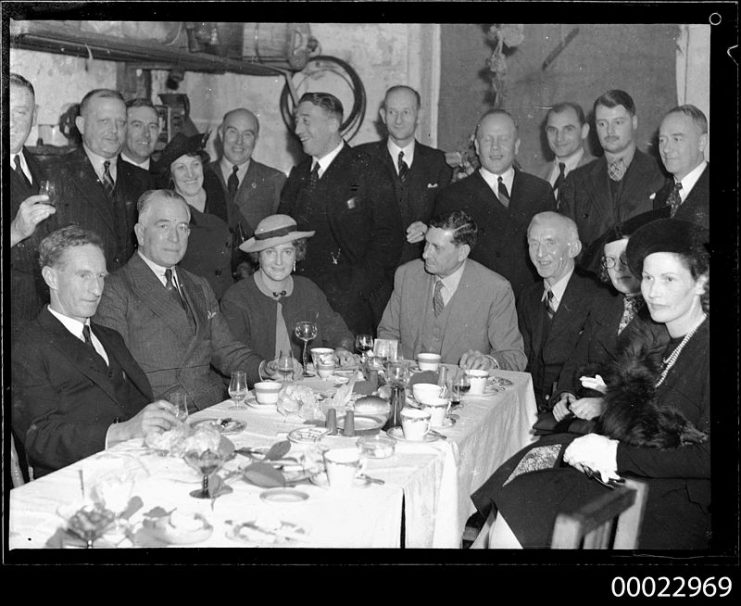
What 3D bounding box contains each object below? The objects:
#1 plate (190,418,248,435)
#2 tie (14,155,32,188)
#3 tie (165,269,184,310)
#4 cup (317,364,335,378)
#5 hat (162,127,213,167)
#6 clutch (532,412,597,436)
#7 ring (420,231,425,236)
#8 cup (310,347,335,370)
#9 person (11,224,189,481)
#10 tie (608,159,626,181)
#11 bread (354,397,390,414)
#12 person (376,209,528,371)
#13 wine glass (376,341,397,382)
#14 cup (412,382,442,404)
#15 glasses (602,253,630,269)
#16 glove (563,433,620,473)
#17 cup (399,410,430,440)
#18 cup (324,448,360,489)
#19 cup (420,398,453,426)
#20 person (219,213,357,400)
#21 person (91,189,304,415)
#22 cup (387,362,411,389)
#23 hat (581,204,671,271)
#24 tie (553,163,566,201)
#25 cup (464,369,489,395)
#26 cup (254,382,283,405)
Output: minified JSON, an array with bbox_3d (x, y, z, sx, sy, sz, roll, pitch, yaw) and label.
[{"bbox_3d":[-0.481,0.393,2.193,0.129,0.018,0.105,5,12,3],"label":"plate"},{"bbox_3d":[-1.720,-0.649,3.399,0.029,0.203,0.024,-18,35,-6],"label":"tie"},{"bbox_3d":[-0.914,-0.086,3.188,0.055,0.241,0.064,-4,-30,-31],"label":"tie"},{"bbox_3d":[-0.199,0.303,3.070,0.061,0.050,0.061,-1,4,0],"label":"cup"},{"bbox_3d":[-1.168,-0.973,4.435,0.242,0.224,0.344,5,10,21],"label":"hat"},{"bbox_3d":[0.808,0.516,2.946,0.168,0.060,0.143,0,3,6],"label":"clutch"},{"bbox_3d":[0.329,-0.443,4.419,0.036,0.009,0.035,1,51,-1],"label":"ring"},{"bbox_3d":[-0.230,0.261,3.185,0.094,0.069,0.098,0,-2,0],"label":"cup"},{"bbox_3d":[-1.007,0.279,2.583,0.605,1.058,0.588,9,17,10],"label":"person"},{"bbox_3d":[1.622,-0.866,4.543,0.105,0.139,0.043,2,-14,28],"label":"tie"},{"bbox_3d":[-0.003,0.368,2.541,0.073,0.037,0.074,-2,-5,36],"label":"bread"},{"bbox_3d":[0.493,-0.065,3.906,0.768,0.955,0.520,13,15,23],"label":"person"},{"bbox_3d":[0.068,0.231,2.957,0.122,0.194,0.122,0,-10,3],"label":"wine glass"},{"bbox_3d":[0.208,0.337,2.589,0.074,0.051,0.074,2,-3,0],"label":"cup"},{"bbox_3d":[1.247,-0.206,3.546,0.138,0.044,0.131,11,-11,-42],"label":"glasses"},{"bbox_3d":[0.747,0.512,2.333,0.161,0.110,0.108,6,11,27],"label":"glove"},{"bbox_3d":[0.149,0.407,2.357,0.089,0.075,0.103,-3,10,-31],"label":"cup"},{"bbox_3d":[-0.079,0.450,1.879,0.111,0.073,0.092,2,5,-3],"label":"cup"},{"bbox_3d":[0.233,0.380,2.443,0.095,0.080,0.097,0,7,0],"label":"cup"},{"bbox_3d":[-0.474,0.023,3.626,0.698,0.882,0.617,-10,19,-31],"label":"person"},{"bbox_3d":[-0.836,0.025,3.107,0.806,0.996,0.674,12,9,31],"label":"person"},{"bbox_3d":[0.102,0.271,2.542,0.087,0.093,0.085,2,-2,0],"label":"cup"},{"bbox_3d":[1.549,-0.324,4.210,0.557,0.156,0.515,26,15,-19],"label":"hat"},{"bbox_3d":[1.298,-0.836,4.756,0.057,0.046,0.404,-13,35,27],"label":"tie"},{"bbox_3d":[0.458,0.341,3.035,0.105,0.091,0.099,2,6,0],"label":"cup"},{"bbox_3d":[-0.391,0.348,2.680,0.087,0.055,0.084,2,0,0],"label":"cup"}]
